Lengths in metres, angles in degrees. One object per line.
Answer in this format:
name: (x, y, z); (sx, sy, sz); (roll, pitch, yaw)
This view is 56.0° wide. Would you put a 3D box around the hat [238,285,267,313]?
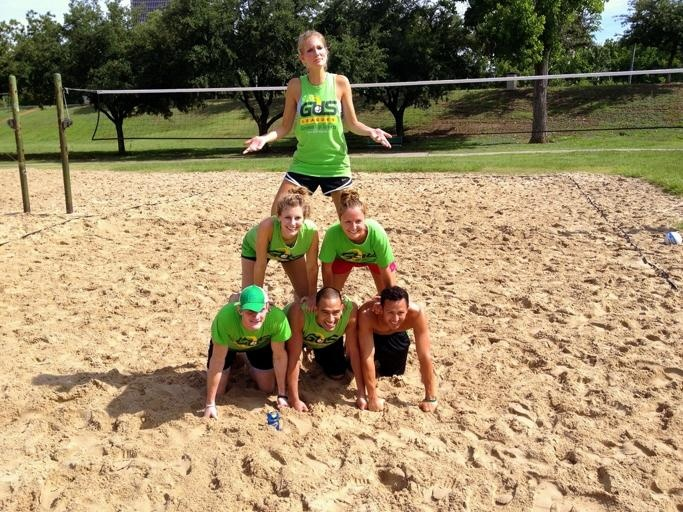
hat: (-0.718, 0.350, 5.236); (0.231, 0.198, 0.226); (-3, 16, -7)
